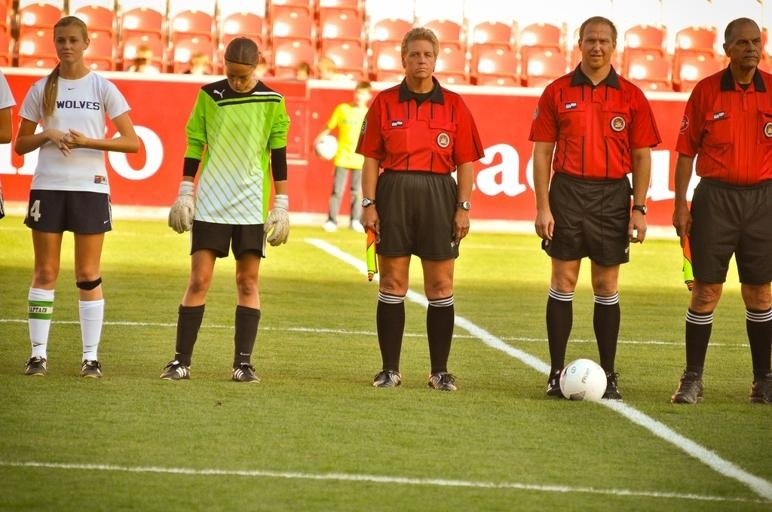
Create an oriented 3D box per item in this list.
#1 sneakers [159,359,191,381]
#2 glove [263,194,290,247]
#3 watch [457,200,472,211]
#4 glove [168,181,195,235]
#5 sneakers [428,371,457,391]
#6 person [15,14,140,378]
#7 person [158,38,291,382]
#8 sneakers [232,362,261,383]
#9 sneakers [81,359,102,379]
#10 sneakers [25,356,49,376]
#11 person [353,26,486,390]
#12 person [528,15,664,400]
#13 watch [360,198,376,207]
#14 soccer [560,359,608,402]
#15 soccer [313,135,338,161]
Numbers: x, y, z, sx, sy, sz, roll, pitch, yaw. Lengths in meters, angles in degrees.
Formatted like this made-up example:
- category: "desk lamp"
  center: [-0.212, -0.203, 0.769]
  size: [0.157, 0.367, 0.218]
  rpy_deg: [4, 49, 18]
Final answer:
- category: "sneakers"
  center: [-1.509, 0.796, 7.022]
  size: [0.209, 0.140, 0.291]
  rpy_deg: [0, 9, -11]
- category: "glove"
  center: [-0.796, -0.250, 7.159]
  size: [0.226, 0.331, 0.143]
  rpy_deg: [-8, -1, -1]
- category: "watch"
  center: [0.557, -0.363, 7.068]
  size: [0.087, 0.051, 0.088]
  rpy_deg: [3, 0, 27]
- category: "glove"
  center: [-1.463, -0.351, 7.011]
  size: [0.175, 0.389, 0.277]
  rpy_deg: [0, 9, -12]
- category: "sneakers"
  center: [0.401, 0.888, 7.028]
  size: [0.206, 0.111, 0.204]
  rpy_deg: [2, 9, 1]
- category: "person"
  center: [-2.209, -0.420, 6.967]
  size: [0.787, 2.519, 0.678]
  rpy_deg: [-1, 9, -21]
- category: "person"
  center: [-1.146, -0.330, 6.999]
  size: [0.880, 2.408, 0.522]
  rpy_deg: [1, 9, -9]
- category: "sneakers"
  center: [-1.001, 0.827, 6.979]
  size: [0.096, 0.089, 0.225]
  rpy_deg: [0, -4, -30]
- category: "sneakers"
  center: [-2.084, 0.792, 6.918]
  size: [0.108, 0.109, 0.282]
  rpy_deg: [2, -5, -19]
- category: "sneakers"
  center: [-2.467, 0.767, 6.904]
  size: [0.138, 0.113, 0.150]
  rpy_deg: [0, 9, -15]
- category: "person"
  center: [0.222, -0.339, 7.031]
  size: [0.901, 2.530, 0.495]
  rpy_deg: [2, 9, -2]
- category: "person"
  center: [1.426, -0.342, 6.948]
  size: [0.890, 2.634, 0.430]
  rpy_deg: [4, 9, 13]
- category: "watch"
  center: [-0.144, -0.383, 7.036]
  size: [0.086, 0.048, 0.085]
  rpy_deg: [1, -2, -45]
- category: "soccer"
  center: [1.399, 0.823, 6.863]
  size: [0.292, 0.279, 0.289]
  rpy_deg: [1, 15, 30]
- category: "soccer"
  center: [-0.953, -1.711, 15.572]
  size: [0.389, 0.364, 0.200]
  rpy_deg: [-9, 7, -17]
